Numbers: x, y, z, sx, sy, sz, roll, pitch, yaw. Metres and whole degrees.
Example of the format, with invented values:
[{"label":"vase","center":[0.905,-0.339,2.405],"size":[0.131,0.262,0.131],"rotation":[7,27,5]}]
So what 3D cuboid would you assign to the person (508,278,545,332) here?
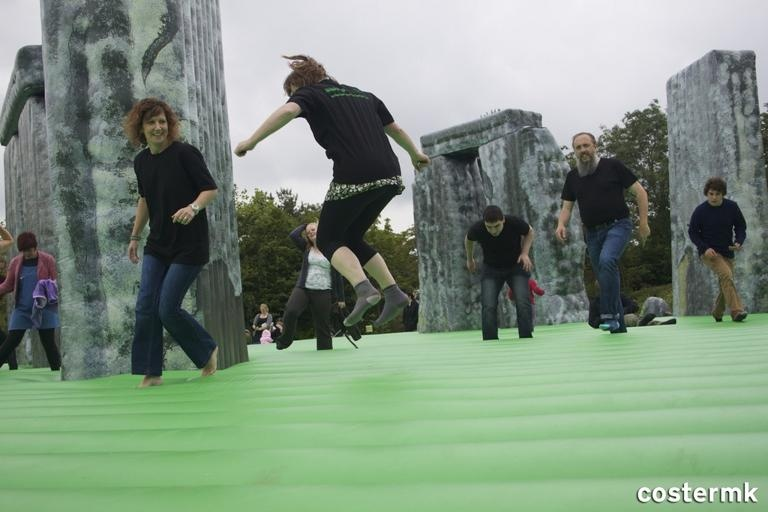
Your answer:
[{"label":"person","center":[2.012,0.642,10.350],"size":[0.633,0.742,0.295],"rotation":[0,-9,20]}]

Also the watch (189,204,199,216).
[{"label":"watch","center":[-1.540,-0.376,6.078],"size":[0.075,0.048,0.066],"rotation":[-17,-33,-54]}]

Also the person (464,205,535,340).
[{"label":"person","center":[1.416,0.227,9.288],"size":[0.797,1.597,0.973],"rotation":[-2,-9,6]}]

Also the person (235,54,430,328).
[{"label":"person","center":[-0.297,-0.558,6.182],"size":[0.789,2.244,1.233],"rotation":[-7,-11,32]}]

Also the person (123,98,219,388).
[{"label":"person","center":[-1.798,-0.116,6.300],"size":[0.736,2.353,0.783],"rotation":[1,-10,-15]}]

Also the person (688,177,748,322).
[{"label":"person","center":[4.329,-0.075,9.720],"size":[0.542,1.832,0.762],"rotation":[2,-10,-20]}]

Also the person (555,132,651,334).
[{"label":"person","center":[2.393,-0.258,8.301],"size":[0.941,2.187,0.666],"rotation":[-4,-10,18]}]
